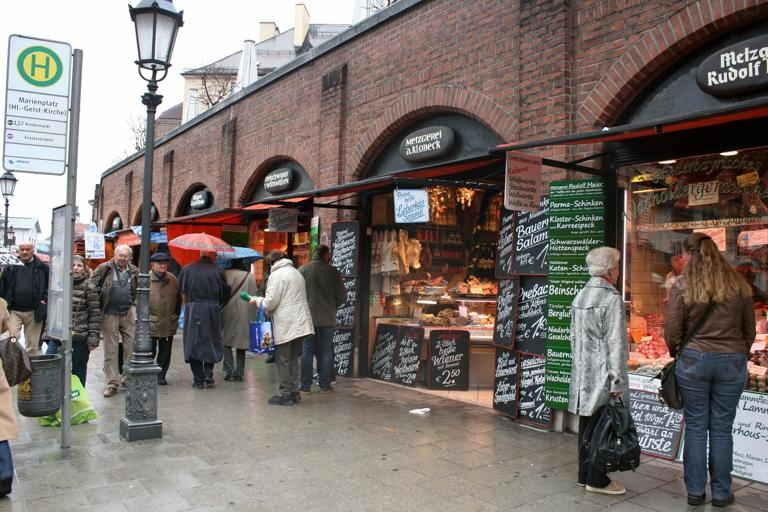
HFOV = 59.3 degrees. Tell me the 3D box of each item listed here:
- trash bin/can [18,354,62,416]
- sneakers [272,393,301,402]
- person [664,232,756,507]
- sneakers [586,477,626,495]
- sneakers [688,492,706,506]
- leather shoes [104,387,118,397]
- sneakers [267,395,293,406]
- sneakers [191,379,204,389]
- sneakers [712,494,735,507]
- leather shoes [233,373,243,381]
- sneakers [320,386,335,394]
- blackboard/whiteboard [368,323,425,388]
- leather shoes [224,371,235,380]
[{"bbox_3d":[-4.332,1.629,8.475,0.587,0.732,0.531,1,-6,-33],"label":"trash bin/can"},{"bbox_3d":[-1.535,2.236,10.665,0.468,0.204,0.159,5,-6,-23],"label":"sneakers"},{"bbox_3d":[3.589,1.250,7.517,0.882,2.971,0.561,4,6,27],"label":"person"},{"bbox_3d":[2.531,2.640,7.708,0.429,0.156,0.171,0,-4,-6],"label":"sneakers"},{"bbox_3d":[3.469,2.693,7.479,0.087,0.102,0.241,-3,-4,41],"label":"sneakers"},{"bbox_3d":[-4.393,2.186,10.855,0.118,0.099,0.262,1,-9,-8],"label":"leather shoes"},{"bbox_3d":[-1.601,2.262,10.548,0.393,0.161,0.146,7,-7,-3],"label":"sneakers"},{"bbox_3d":[-3.166,2.175,11.493,0.110,0.128,0.320,3,-12,-23],"label":"sneakers"},{"bbox_3d":[3.714,2.696,7.410,0.261,0.103,0.098,-3,1,-44],"label":"sneakers"},{"bbox_3d":[-2.632,2.206,12.228,0.133,0.113,0.127,1,-4,-4],"label":"leather shoes"},{"bbox_3d":[-0.941,2.280,11.483,0.095,0.090,0.223,0,1,28],"label":"sneakers"},{"bbox_3d":[0.278,1.855,12.454,0.363,0.840,1.068,23,-17,-34],"label":"blackboard/whiteboard"},{"bbox_3d":[-2.818,2.177,12.263,0.127,0.161,0.165,1,4,19],"label":"leather shoes"}]
